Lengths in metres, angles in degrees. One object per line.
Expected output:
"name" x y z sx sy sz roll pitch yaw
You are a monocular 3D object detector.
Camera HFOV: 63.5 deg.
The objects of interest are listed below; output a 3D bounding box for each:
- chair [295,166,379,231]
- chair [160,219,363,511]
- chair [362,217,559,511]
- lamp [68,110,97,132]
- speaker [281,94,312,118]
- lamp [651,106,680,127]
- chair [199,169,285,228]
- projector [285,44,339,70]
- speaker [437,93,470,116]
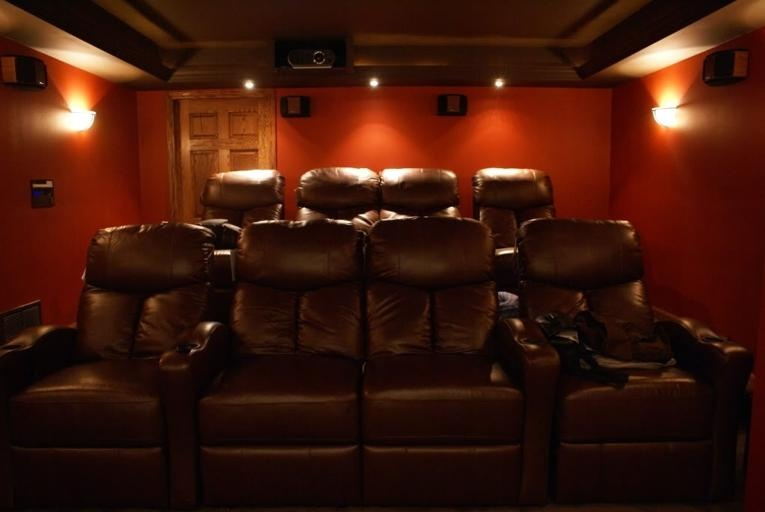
"chair" -0.459 -0.562 6.512 0.782 0.651 0.700 0 -1 -1
"chair" -0.773 0.693 4.267 1.291 1.931 0.557 2 -2 -4
"chair" 0.494 0.681 4.276 1.265 1.928 0.609 2 -1 -3
"lamp" -3.064 -1.365 6.296 0.231 0.152 0.216 -2 0 -3
"speaker" -1.003 -1.715 7.156 0.462 0.226 0.302 -1 41 0
"lamp" 2.804 -1.388 6.255 0.202 0.189 0.362 2 -1 1
"chair" -1.467 -0.619 6.648 0.926 0.704 0.611 0 5 1
"projector" -0.743 -2.094 6.488 0.513 0.202 0.109 0 2 0
"speaker" 0.813 -1.729 7.092 0.449 0.277 0.230 0 0 0
